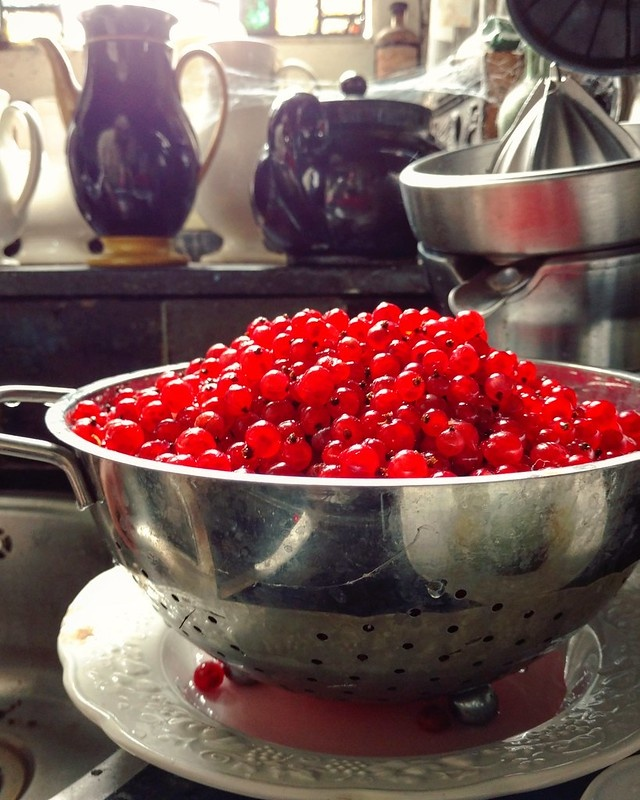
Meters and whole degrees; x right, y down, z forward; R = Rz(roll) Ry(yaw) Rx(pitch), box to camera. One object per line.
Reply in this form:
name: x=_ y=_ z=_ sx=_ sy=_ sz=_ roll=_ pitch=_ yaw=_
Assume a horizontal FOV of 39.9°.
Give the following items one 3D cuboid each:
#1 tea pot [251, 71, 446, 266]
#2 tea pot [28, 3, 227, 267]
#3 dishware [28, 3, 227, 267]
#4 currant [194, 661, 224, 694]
tea pot: x=0.025 y=-0.259 z=1.018 sx=0.174 sy=0.121 sz=0.217 roll=8 pitch=16 yaw=31
tea pot: x=-0.197 y=-0.313 z=1.074 sx=0.232 sy=0.292 sz=0.113 roll=-13 pitch=20 yaw=-20
dishware: x=-0.197 y=-0.313 z=1.074 sx=0.232 sy=0.292 sz=0.113 roll=-13 pitch=20 yaw=-20
currant: x=-0.067 y=0.164 z=0.526 sx=0.018 sy=0.017 sz=0.016 roll=1 pitch=-5 yaw=13
